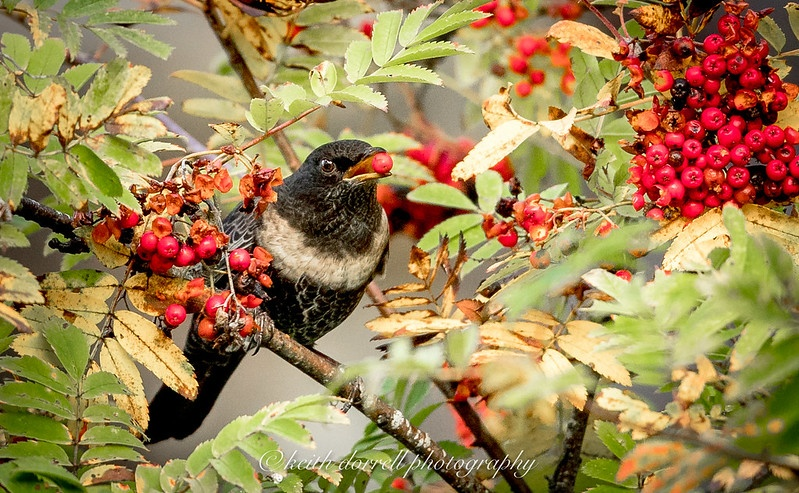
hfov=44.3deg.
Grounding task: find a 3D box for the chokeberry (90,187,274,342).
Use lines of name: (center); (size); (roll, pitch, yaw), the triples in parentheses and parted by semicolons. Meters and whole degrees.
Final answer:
chokeberry: (-0.609, 0.041, 2.720); (0.468, 0.433, 0.175); (-5, 13, 4)
